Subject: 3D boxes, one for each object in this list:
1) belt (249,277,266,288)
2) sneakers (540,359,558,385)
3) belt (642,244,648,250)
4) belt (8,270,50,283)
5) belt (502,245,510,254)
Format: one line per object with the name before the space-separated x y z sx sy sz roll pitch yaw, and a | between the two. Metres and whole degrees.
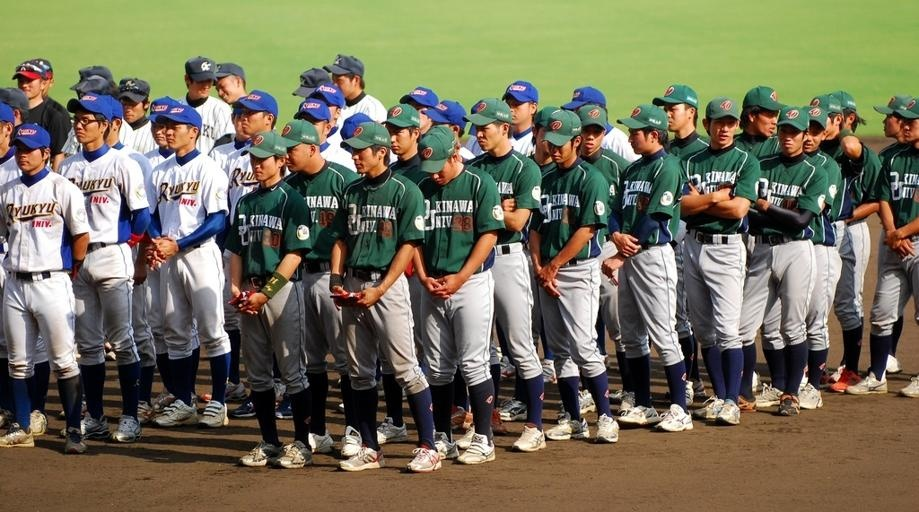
belt | -2.888 0.381 18.318 0.231 0.078 0.158 -18 -30 7
sneakers | 1.496 1.935 21.228 0.290 0.539 0.212 -3 7 -5
belt | 2.810 -0.132 19.302 0.103 0.081 0.023 6 2 13
belt | -6.294 0.303 18.722 0.619 0.151 0.128 -4 -1 12
belt | 0.689 -0.092 18.821 0.127 0.103 0.027 -4 -2 -5
